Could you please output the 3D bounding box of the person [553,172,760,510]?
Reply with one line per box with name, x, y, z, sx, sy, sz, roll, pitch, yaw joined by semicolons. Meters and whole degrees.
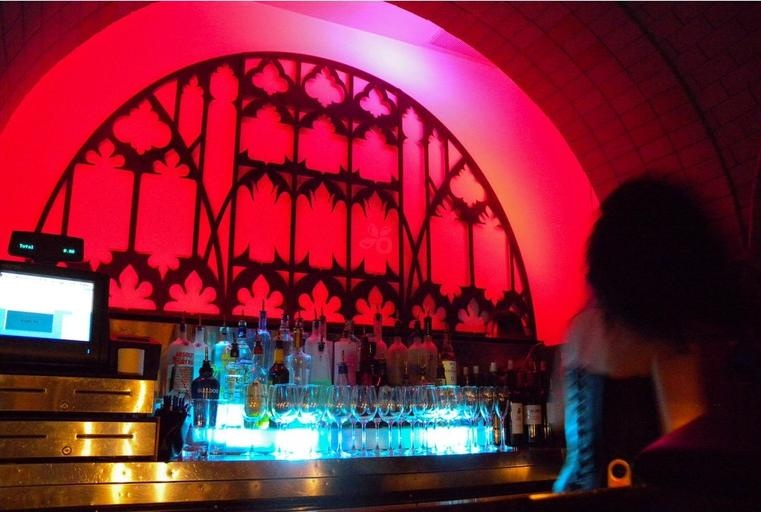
person;0.793;0.228;2.083;0.276;0.912;0.692;4;-19;-14
